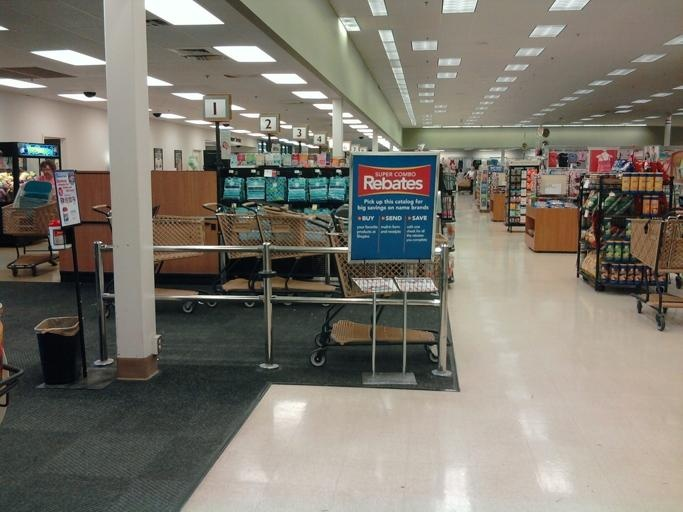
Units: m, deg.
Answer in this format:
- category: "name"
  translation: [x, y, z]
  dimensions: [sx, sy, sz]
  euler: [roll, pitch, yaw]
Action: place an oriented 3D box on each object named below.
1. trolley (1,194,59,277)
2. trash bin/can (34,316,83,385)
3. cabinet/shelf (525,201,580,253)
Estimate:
- category: "trolley"
  translation: [-6.254, -0.465, 10.515]
  dimensions: [0.835, 1.220, 4.446]
  euler: [-6, 8, -32]
- category: "trash bin/can"
  translation: [-2.310, 0.794, 4.306]
  dimensions: [0.359, 0.516, 0.534]
  euler: [-2, 3, -11]
- category: "cabinet/shelf"
  translation: [4.790, -0.385, 12.105]
  dimensions: [0.936, 1.157, 1.730]
  euler: [0, 5, 7]
